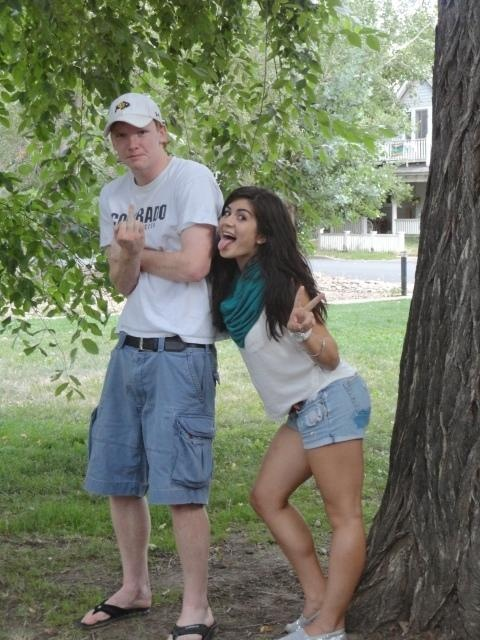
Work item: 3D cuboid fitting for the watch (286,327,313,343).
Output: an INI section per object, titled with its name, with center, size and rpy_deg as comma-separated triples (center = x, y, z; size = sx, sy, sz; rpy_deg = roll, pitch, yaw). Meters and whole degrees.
[watch]
center = 0.206, 0.051, 2.424
size = 0.068, 0.035, 0.076
rpy_deg = 2, -1, 7

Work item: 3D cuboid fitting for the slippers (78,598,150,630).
[slippers]
center = -0.504, 1.201, 2.932
size = 0.253, 0.050, 0.091
rpy_deg = 2, -5, -22

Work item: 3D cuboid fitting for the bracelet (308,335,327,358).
[bracelet]
center = 0.277, 0.096, 2.478
size = 0.016, 0.055, 0.061
rpy_deg = 31, -16, -3

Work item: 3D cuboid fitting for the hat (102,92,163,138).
[hat]
center = -0.408, -0.788, 2.747
size = 0.211, 0.160, 0.194
rpy_deg = -1, 7, 2
